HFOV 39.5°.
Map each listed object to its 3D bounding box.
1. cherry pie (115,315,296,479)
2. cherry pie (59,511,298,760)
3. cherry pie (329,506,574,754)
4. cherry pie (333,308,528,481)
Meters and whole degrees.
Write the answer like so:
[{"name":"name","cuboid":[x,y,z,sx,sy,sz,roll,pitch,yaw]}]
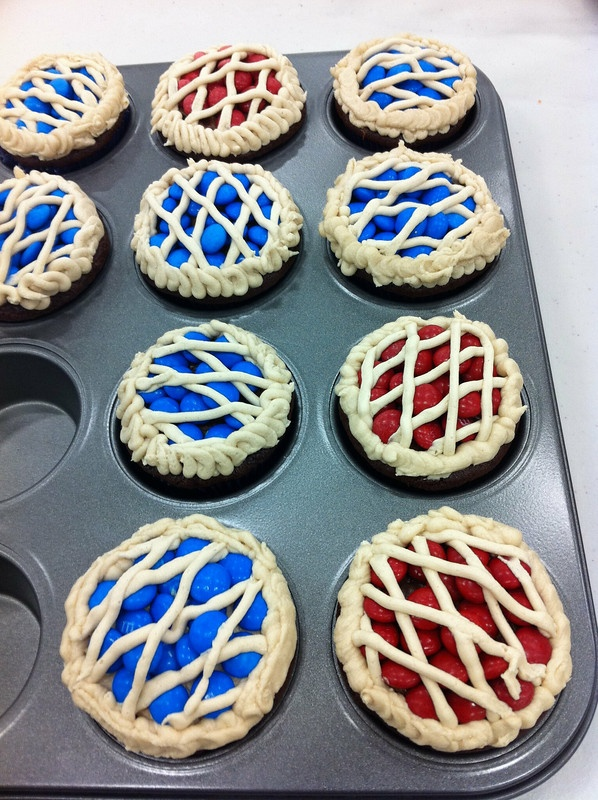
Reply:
[{"name":"cherry pie","cuboid":[-0.266,0.011,2.336,0.501,0.281,0.405,-13,43,2]},{"name":"cherry pie","cuboid":[-0.296,0.570,2.069,0.543,0.325,0.561,9,48,23]},{"name":"cherry pie","cuboid":[0.358,0.541,2.017,0.541,0.279,0.531,-20,43,-6]},{"name":"cherry pie","cuboid":[0.361,0.005,2.227,0.496,0.151,0.453,-1,66,6]}]
